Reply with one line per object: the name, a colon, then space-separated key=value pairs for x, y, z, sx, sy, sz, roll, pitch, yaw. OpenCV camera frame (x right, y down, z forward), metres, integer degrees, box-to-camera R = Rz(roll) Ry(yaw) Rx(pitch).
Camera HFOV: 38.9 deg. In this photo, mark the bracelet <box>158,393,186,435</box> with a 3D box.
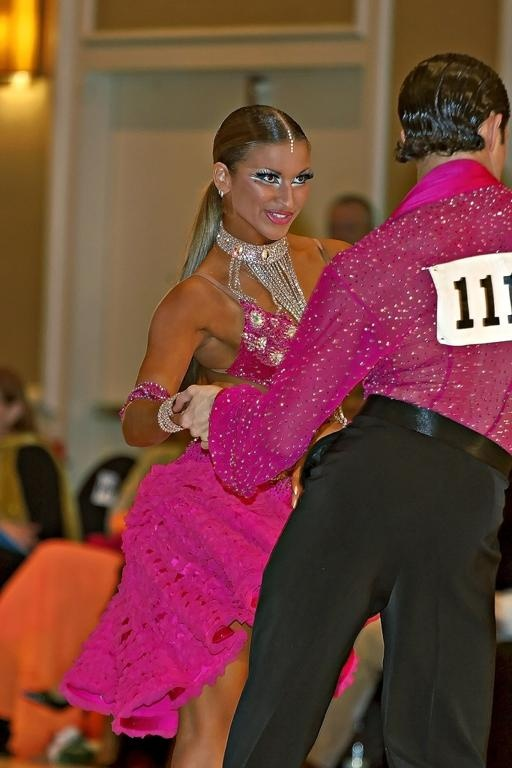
bracelet: x=-0.139 y=0.053 z=1.214 sx=0.054 sy=0.055 sz=0.025 roll=-3 pitch=11 yaw=-42
